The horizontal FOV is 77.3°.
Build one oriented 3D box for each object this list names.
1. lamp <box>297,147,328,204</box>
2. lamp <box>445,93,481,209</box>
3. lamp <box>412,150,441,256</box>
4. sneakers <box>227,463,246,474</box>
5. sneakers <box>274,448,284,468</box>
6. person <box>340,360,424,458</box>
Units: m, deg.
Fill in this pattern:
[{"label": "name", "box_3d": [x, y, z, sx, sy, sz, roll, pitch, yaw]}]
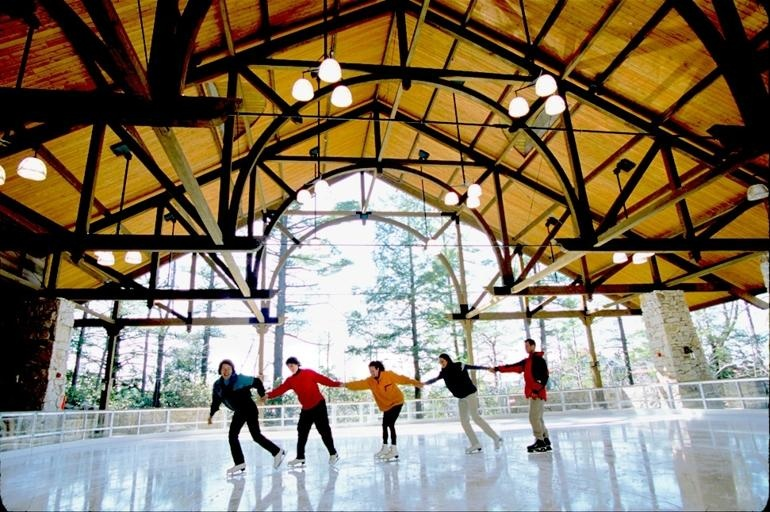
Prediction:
[{"label": "lamp", "box_3d": [-1.977, -2.221, 13.450, 0.444, 0.878, 1.843, -36, -32, -36]}, {"label": "lamp", "box_3d": [2.084, -2.843, 13.349, 1.169, 0.983, 3.472, 3, -50, 20]}, {"label": "lamp", "box_3d": [1.302, -1.778, 16.025, 0.784, 3.459, 0.717, -9, -7, 27]}, {"label": "sneakers", "box_3d": [-2.558, 3.677, 8.318, 0.298, 0.187, 0.289, 2, -21, -19]}, {"label": "sneakers", "box_3d": [-1.914, 3.707, 8.710, 0.197, 0.173, 0.393, 11, -57, -8]}, {"label": "person", "box_3d": [-0.009, 2.914, 9.078, 1.129, 1.795, 1.023, -8, -21, 3]}]
